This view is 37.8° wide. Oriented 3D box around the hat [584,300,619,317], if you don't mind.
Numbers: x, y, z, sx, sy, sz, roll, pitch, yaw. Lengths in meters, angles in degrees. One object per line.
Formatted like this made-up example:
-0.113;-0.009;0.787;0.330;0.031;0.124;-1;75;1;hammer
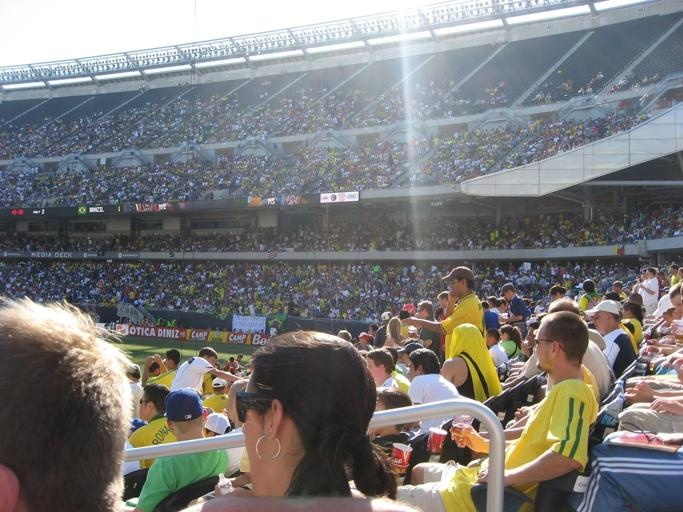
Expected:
10.817;2.128;40.961;0.998;0.436;0.663;-2;-6;20;hat

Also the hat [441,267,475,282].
4.937;0.733;41.668;1.141;0.691;0.671;-2;-8;7;hat

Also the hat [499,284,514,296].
7.594;1.496;45.422;0.526;0.613;0.598;-3;-8;14;hat

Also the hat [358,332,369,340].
1.025;3.708;46.477;0.495;0.242;0.729;-1;-11;21;hat
